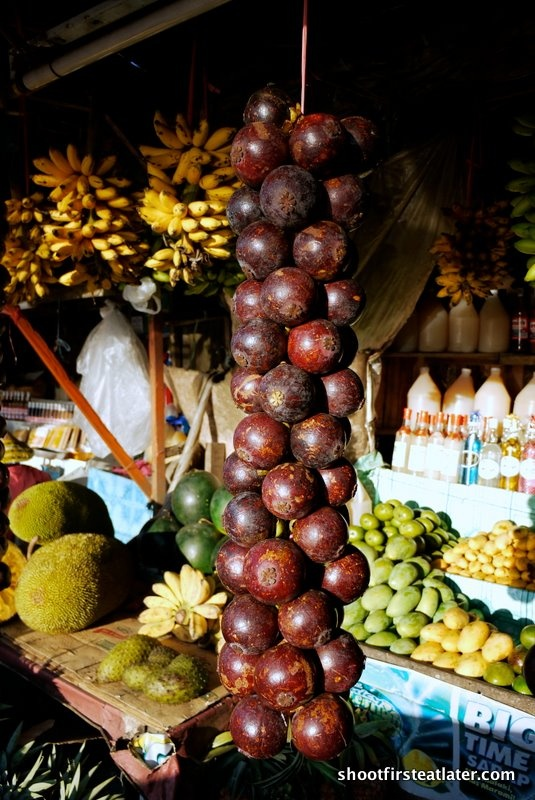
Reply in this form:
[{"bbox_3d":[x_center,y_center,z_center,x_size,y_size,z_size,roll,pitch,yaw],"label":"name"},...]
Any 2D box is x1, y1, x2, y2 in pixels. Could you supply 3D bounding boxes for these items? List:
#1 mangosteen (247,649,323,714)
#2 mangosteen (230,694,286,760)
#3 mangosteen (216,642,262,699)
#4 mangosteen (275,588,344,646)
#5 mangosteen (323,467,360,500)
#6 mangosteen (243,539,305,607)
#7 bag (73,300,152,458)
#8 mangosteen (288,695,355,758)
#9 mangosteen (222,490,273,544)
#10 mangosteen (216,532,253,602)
[{"bbox_3d":[0.041,0.556,1.317,0.129,0.143,0.129,-8,-29,3],"label":"mangosteen"},{"bbox_3d":[-0.017,0.695,1.403,0.119,0.131,0.115,-13,-5,14],"label":"mangosteen"},{"bbox_3d":[-0.048,0.582,1.419,0.098,0.108,0.097,0,2,11],"label":"mangosteen"},{"bbox_3d":[0.080,0.452,1.346,0.117,0.121,0.111,-17,-24,22],"label":"mangosteen"},{"bbox_3d":[0.151,0.175,1.439,0.077,0.084,0.073,-4,0,-2],"label":"mangosteen"},{"bbox_3d":[0.017,0.348,1.309,0.082,0.086,0.098,-39,15,45],"label":"mangosteen"},{"bbox_3d":[-0.766,-0.135,3.544,0.412,0.815,0.427,-15,35,-25],"label":"bag"},{"bbox_3d":[0.110,0.647,1.376,0.138,0.147,0.124,7,-5,7],"label":"mangosteen"},{"bbox_3d":[-0.043,0.251,1.379,0.112,0.119,0.104,0,5,8],"label":"mangosteen"},{"bbox_3d":[-0.076,0.374,1.453,0.116,0.124,0.111,1,-1,7],"label":"mangosteen"}]
